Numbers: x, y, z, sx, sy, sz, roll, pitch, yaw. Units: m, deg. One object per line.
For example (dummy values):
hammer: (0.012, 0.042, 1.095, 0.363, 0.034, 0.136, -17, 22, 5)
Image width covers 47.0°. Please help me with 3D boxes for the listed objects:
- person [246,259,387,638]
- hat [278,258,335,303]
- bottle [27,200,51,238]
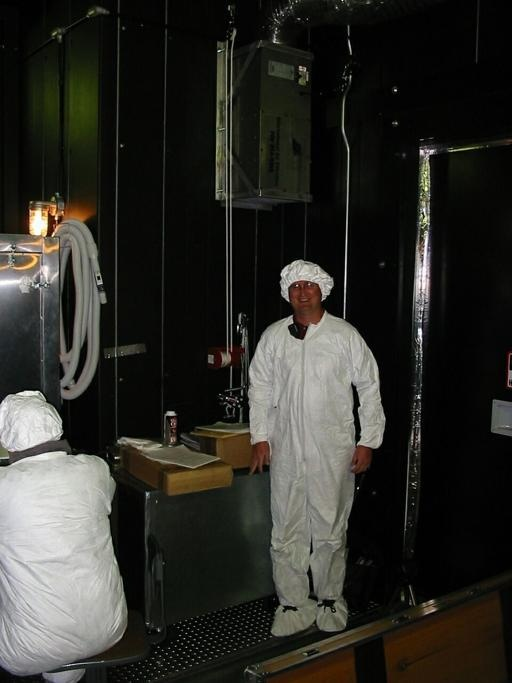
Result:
person: (0.258, 0.413, 2.504, 0.578, 1.511, 0.430, 0, 3, -2)
hat: (0.225, -0.300, 2.610, 0.152, 0.117, 0.208, 8, -27, 9)
bottle: (-1.164, -0.662, 3.168, 0.101, 0.193, 0.242, -1, 4, -20)
